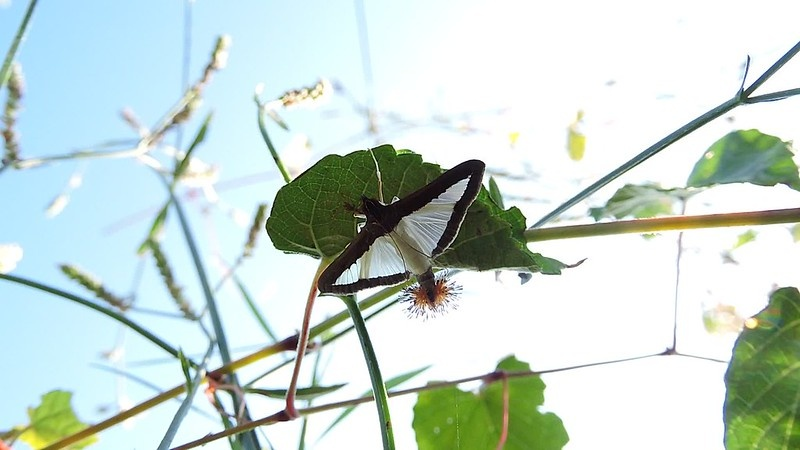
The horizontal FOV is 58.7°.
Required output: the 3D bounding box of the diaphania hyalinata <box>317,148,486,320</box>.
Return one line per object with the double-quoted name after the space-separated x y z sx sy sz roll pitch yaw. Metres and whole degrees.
0.002 0.007 1.213 0.244 0.077 0.278 10 -76 -7 "diaphania hyalinata"
